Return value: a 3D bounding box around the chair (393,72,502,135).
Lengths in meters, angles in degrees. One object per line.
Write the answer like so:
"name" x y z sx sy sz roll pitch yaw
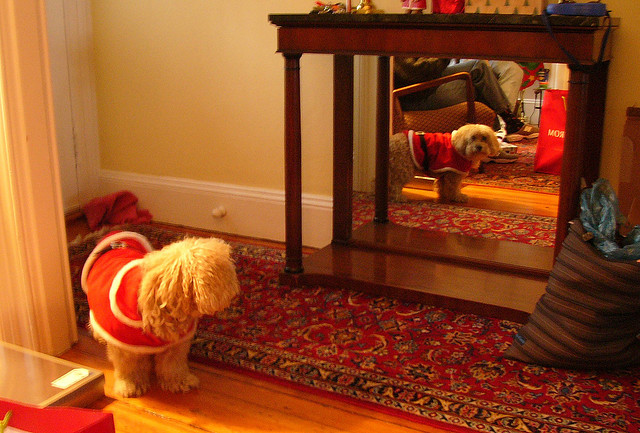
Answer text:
"chair" 0.627 -0.562 2.622 0.418 0.444 0.323 -8 31 8

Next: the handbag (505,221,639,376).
"handbag" 1.050 0.359 2.078 0.477 0.466 0.272 24 32 24

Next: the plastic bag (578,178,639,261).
"plastic bag" 1.176 0.007 2.038 0.207 0.224 0.357 2 22 6

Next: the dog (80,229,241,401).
"dog" -0.712 0.351 2.116 0.479 0.603 0.945 -4 14 -34
